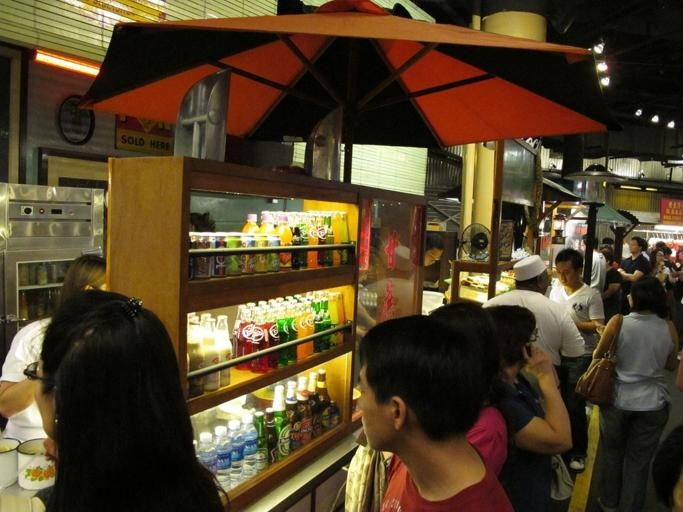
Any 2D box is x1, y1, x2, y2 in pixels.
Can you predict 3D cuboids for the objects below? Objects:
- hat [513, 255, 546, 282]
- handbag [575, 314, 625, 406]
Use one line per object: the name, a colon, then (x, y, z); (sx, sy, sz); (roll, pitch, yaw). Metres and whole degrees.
hat: (1.568, 0.084, 4.616); (0.220, 0.131, 0.211); (-27, 22, -25)
handbag: (2.104, 0.853, 4.477); (0.395, 0.733, 0.259); (-1, 2, 13)
